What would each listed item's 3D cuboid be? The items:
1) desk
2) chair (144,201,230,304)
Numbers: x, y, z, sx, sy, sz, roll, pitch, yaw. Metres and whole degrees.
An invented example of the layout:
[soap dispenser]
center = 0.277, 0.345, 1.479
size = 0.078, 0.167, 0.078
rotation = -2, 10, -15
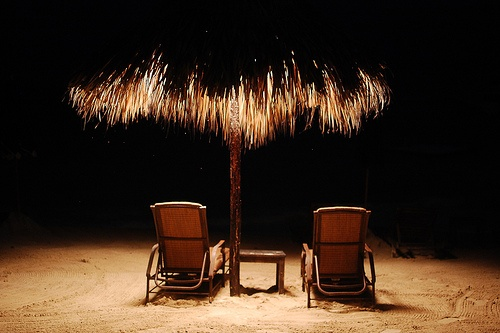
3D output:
[desk]
center = 0.305, 2.181, 9.576
size = 0.845, 0.680, 0.900
rotation = 1, -9, 2
[chair]
center = -1.271, 1.822, 10.180
size = 1.576, 2.026, 2.997
rotation = 0, -3, 10
